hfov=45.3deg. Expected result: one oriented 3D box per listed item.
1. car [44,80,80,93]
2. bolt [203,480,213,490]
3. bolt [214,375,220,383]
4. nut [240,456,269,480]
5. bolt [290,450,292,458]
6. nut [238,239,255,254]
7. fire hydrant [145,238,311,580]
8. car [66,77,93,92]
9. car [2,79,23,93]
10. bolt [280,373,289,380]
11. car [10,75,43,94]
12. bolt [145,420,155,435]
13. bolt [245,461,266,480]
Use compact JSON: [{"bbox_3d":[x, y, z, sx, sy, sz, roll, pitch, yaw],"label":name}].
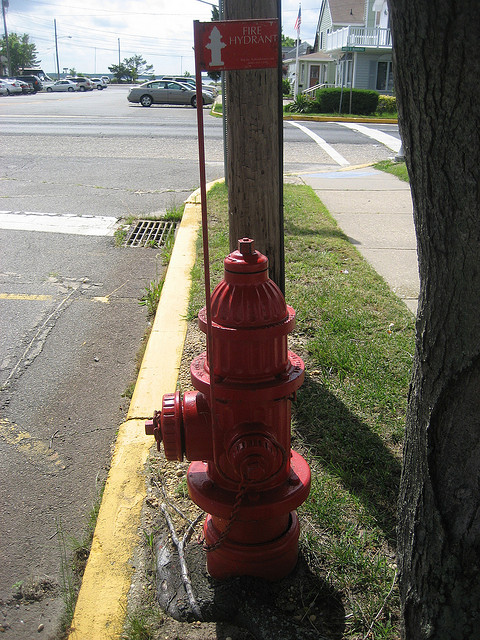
[{"bbox_3d":[-18.456,-24.541,60.131,3.512,1.156,1.067,-13,23,-30],"label":"car"},{"bbox_3d":[-0.118,0.609,2.116,0.028,0.009,0.027,8,42,-6],"label":"bolt"},{"bbox_3d":[-0.075,0.196,1.905,0.018,0.018,0.021,2,20,6],"label":"bolt"},{"bbox_3d":[0.045,0.492,1.925,0.089,0.084,0.044,-3,20,-4],"label":"nut"},{"bbox_3d":[0.205,0.539,2.304,0.010,0.026,0.010,5,21,20],"label":"bolt"},{"bbox_3d":[0.027,-0.245,1.930,0.051,0.055,0.055,17,27,41],"label":"nut"},{"bbox_3d":[-0.010,0.348,2.103,0.526,1.294,0.456,-20,27,-39],"label":"fire hydrant"},{"bbox_3d":[-17.502,-25.386,61.697,3.147,1.411,1.655,5,41,-9],"label":"car"},{"bbox_3d":[-19.000,-19.583,48.277,0.664,0.802,2.012,4,20,16],"label":"car"},{"bbox_3d":[0.149,0.190,1.941,0.032,0.016,0.022,4,-6,1],"label":"bolt"},{"bbox_3d":[-20.174,-22.498,54.028,3.111,1.234,1.387,13,37,-5],"label":"car"},{"bbox_3d":[-0.317,0.391,2.096,0.045,0.043,0.045,-2,10,-2],"label":"bolt"},{"bbox_3d":[0.049,0.502,1.928,0.068,0.065,0.034,-8,26,-12],"label":"bolt"}]
